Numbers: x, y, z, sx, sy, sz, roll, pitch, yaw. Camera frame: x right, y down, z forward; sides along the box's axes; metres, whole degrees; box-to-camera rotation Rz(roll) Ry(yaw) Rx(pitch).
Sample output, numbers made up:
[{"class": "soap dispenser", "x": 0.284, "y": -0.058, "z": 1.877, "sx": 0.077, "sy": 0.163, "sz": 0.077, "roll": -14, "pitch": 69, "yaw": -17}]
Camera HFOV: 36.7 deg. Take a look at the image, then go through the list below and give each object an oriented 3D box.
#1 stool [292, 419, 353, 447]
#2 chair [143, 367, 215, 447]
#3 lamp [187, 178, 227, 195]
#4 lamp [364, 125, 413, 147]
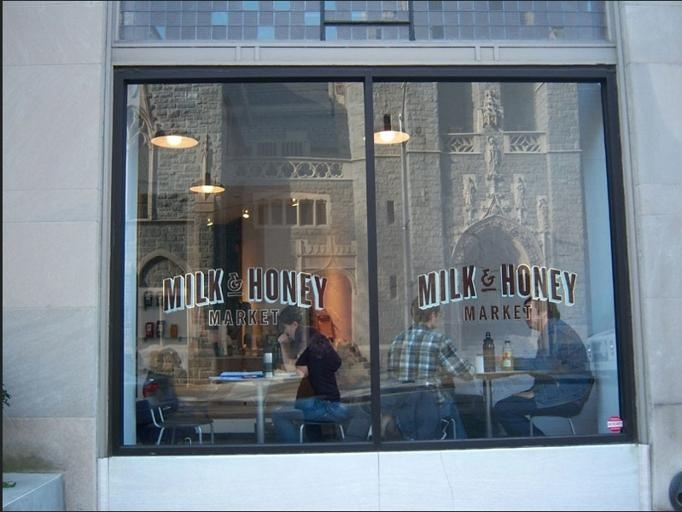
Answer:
[{"class": "stool", "x": -0.185, "y": 1.661, "z": 9.878, "sx": 0.454, "sy": 0.206, "sz": 0.100, "roll": -3, "pitch": -3, "yaw": 1}, {"class": "chair", "x": -1.640, "y": 1.469, "z": 9.929, "sx": 0.686, "sy": 0.994, "sz": 0.598, "roll": -2, "pitch": -7, "yaw": 11}, {"class": "lamp", "x": -1.363, "y": -0.691, "z": 10.445, "sx": 0.213, "sy": 0.145, "sz": 0.220, "roll": 0, "pitch": -1, "yaw": 9}, {"class": "lamp", "x": 0.535, "y": -1.232, "z": 10.730, "sx": 0.503, "sy": 0.170, "sz": 0.080, "roll": -1, "pitch": -3, "yaw": -40}]
